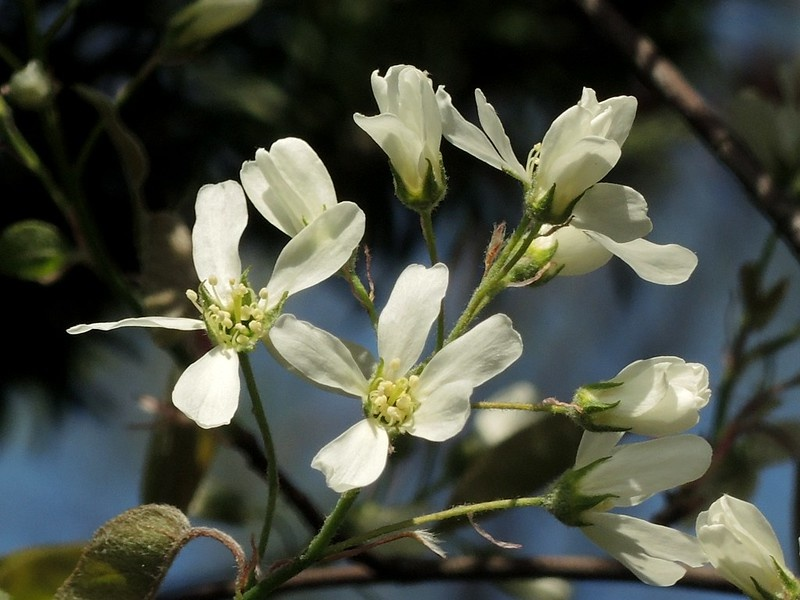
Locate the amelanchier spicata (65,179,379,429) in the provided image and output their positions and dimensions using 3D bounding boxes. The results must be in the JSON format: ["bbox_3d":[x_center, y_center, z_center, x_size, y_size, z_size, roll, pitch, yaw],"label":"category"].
[{"bbox_3d":[-0.204,0.018,1.211,0.215,0.082,0.329,-3,17,34],"label":"amelanchier spicata"}]

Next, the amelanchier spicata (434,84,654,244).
[{"bbox_3d":[0.180,-0.152,1.215,0.254,0.118,0.244,34,18,10],"label":"amelanchier spicata"}]
